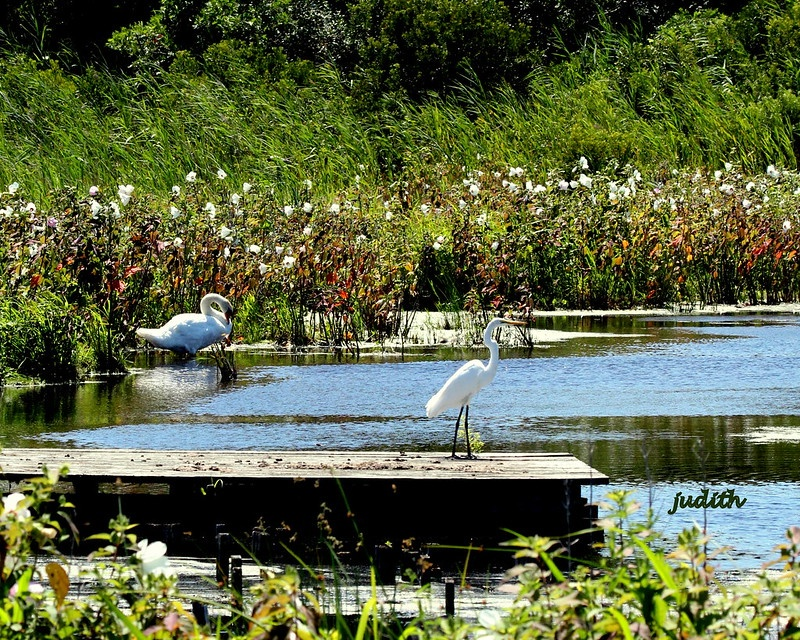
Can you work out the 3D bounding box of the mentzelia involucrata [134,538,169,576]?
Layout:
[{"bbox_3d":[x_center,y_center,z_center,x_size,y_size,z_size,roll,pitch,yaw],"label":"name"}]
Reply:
[{"bbox_3d":[-1.286,1.226,8.285,0.151,0.181,0.290,-7,2,-11],"label":"mentzelia involucrata"}]

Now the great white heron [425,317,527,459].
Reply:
[{"bbox_3d":[0.595,0.550,12.604,0.775,1.168,0.266,2,10,8],"label":"great white heron"}]

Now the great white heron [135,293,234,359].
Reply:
[{"bbox_3d":[-2.472,0.064,18.506,1.024,0.756,0.605,-2,7,-12],"label":"great white heron"}]
